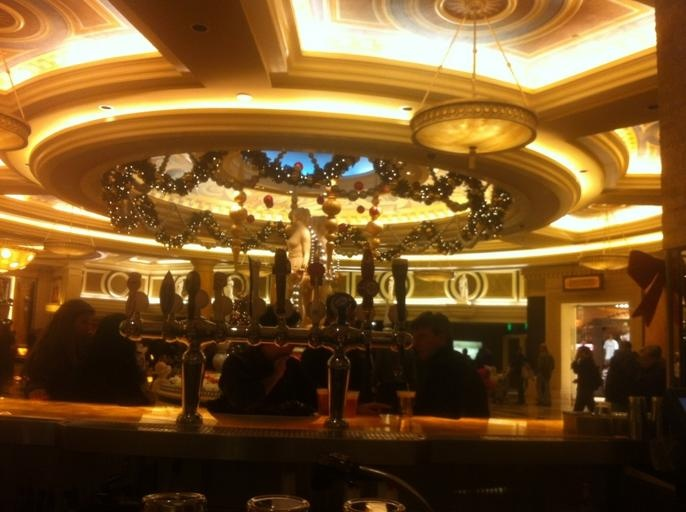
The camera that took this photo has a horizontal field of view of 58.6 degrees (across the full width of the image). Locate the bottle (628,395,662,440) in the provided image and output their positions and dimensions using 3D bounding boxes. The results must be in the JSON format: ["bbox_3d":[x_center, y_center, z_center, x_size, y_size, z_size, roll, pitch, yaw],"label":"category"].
[{"bbox_3d":[1.547,0.832,3.146,0.194,0.212,0.130,7,-12,-27],"label":"bottle"}]

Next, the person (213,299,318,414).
[{"bbox_3d":[-0.448,0.642,3.782,0.550,0.364,0.776,-2,-7,14],"label":"person"}]

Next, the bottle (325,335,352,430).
[{"bbox_3d":[-0.023,0.638,3.114,0.109,0.443,0.232,2,-10,-1],"label":"bottle"}]

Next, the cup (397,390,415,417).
[{"bbox_3d":[0.404,0.889,3.691,0.137,0.163,0.149,3,-14,1],"label":"cup"}]

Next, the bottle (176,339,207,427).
[{"bbox_3d":[-0.752,0.621,3.059,0.117,0.409,0.186,4,-11,-13],"label":"bottle"}]

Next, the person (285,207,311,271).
[{"bbox_3d":[-0.554,-0.212,7.703,0.316,0.863,0.397,2,-10,0],"label":"person"}]

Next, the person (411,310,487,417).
[{"bbox_3d":[0.719,0.754,4.392,0.630,0.741,0.604,-6,-13,36],"label":"person"}]

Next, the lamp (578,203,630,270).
[{"bbox_3d":[5.546,-0.458,12.926,0.846,1.235,0.875,7,-21,2],"label":"lamp"}]
